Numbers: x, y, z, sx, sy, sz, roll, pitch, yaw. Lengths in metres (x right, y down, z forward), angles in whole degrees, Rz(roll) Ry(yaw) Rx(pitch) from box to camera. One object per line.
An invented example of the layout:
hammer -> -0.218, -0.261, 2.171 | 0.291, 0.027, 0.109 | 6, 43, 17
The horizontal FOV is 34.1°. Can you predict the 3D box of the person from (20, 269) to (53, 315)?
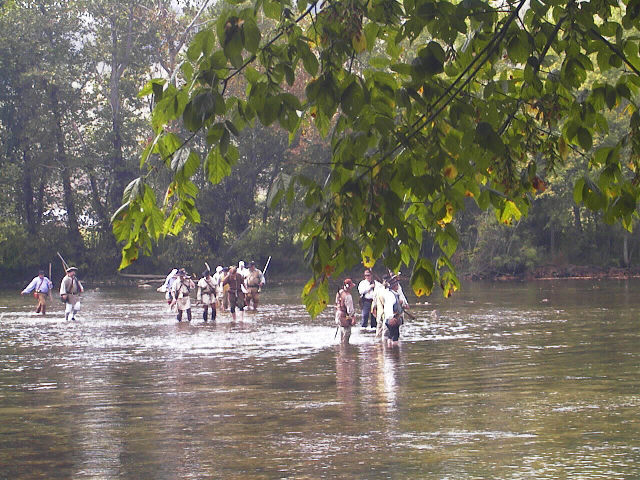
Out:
person -> -13.807, 2.547, 51.127 | 1.268, 2.119, 1.041 | 8, -23, -35
